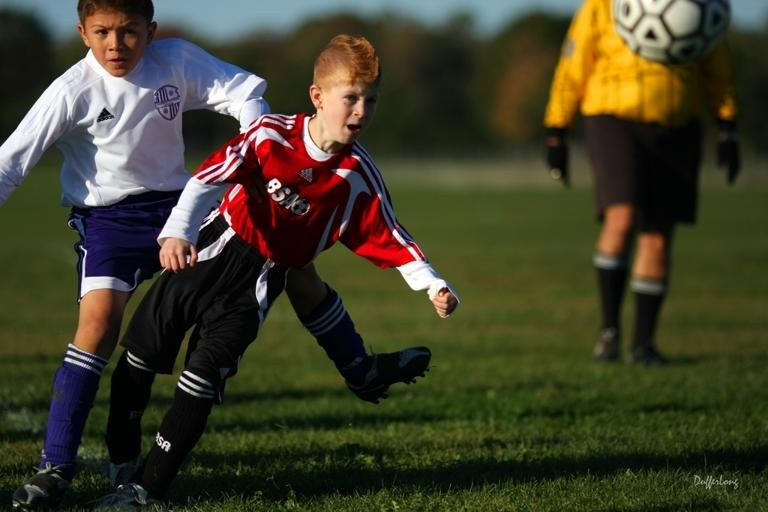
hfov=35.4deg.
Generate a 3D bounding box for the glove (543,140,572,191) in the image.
[{"bbox_3d":[1.455,-0.784,10.086,0.200,0.325,0.125,-12,7,14],"label":"glove"}]
